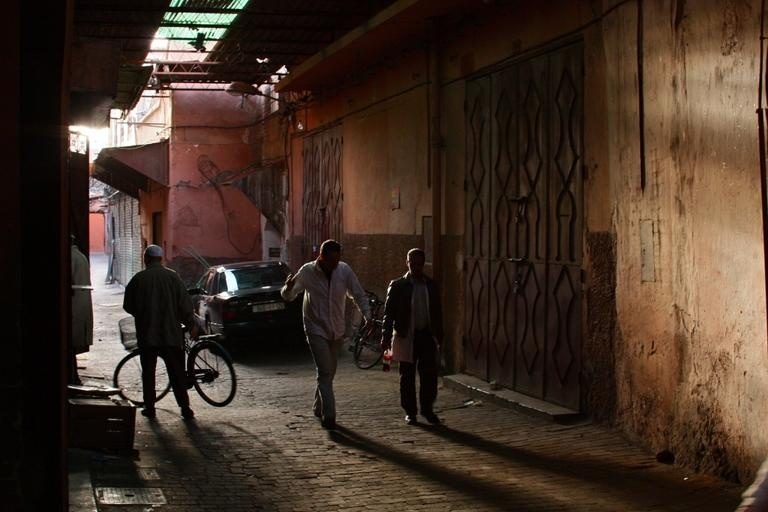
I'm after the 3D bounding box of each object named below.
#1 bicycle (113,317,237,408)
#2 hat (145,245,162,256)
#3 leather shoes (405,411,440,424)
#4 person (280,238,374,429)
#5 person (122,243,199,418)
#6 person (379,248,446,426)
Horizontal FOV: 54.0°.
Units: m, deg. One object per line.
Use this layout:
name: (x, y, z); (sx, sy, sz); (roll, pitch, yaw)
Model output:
bicycle: (-2.690, 1.538, 10.882); (0.996, 1.396, 2.161); (3, -14, -33)
hat: (-3.056, -0.059, 9.981); (0.161, 0.138, 0.171); (9, 4, 22)
leather shoes: (0.521, 2.037, 9.482); (0.463, 0.212, 0.163); (-3, -1, 10)
person: (-0.709, 0.946, 9.320); (1.059, 2.241, 0.623); (-1, 2, -7)
person: (-2.890, 1.110, 9.707); (0.865, 1.936, 0.449); (-1, 2, -13)
person: (0.373, 1.004, 9.528); (0.762, 2.156, 0.446); (0, 2, 1)
